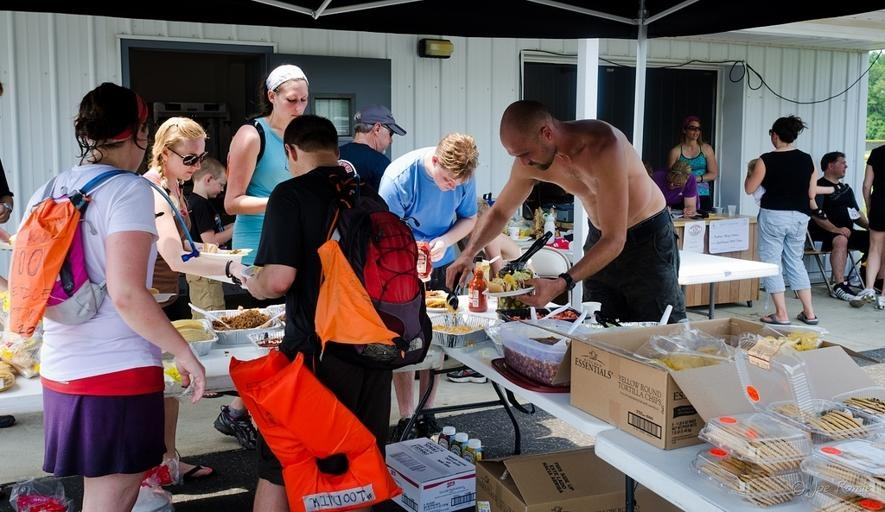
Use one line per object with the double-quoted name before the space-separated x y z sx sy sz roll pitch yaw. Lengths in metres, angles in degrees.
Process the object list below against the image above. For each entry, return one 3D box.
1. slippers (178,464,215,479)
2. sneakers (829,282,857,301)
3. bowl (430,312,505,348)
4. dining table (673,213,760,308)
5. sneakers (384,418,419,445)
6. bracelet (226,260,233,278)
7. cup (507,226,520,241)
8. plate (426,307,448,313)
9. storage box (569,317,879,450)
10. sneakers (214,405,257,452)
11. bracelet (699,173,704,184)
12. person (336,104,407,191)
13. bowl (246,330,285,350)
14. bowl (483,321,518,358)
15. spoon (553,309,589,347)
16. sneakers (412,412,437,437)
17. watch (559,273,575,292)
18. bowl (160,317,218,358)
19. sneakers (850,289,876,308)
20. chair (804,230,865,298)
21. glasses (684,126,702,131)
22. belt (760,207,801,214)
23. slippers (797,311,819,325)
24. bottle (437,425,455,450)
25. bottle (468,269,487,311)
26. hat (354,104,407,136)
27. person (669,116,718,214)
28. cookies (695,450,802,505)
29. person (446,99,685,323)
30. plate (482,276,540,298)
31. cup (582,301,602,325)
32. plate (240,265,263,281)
"slippers" -1.704 1.493 4.683 0.254 0.062 0.092 2 20 -18
"sneakers" 5.534 0.489 9.241 0.176 0.189 0.439 -10 8 -6
"bowl" 0.121 0.429 3.988 0.255 0.057 0.235 -1 11 0
"dining table" 3.010 0.012 7.409 1.163 1.016 0.708 -4 7 -16
"sneakers" -0.300 1.269 4.791 0.159 0.191 0.466 1 -5 12
"bracelet" -1.220 0.077 3.839 0.019 0.077 0.078 8 -16 -11
"cup" 0.827 -0.261 7.633 0.136 0.136 0.134 0 4 0
"plate" -0.032 0.351 4.311 0.088 0.013 0.086 1 7 9
"storage box" 1.304 0.578 3.269 1.074 0.327 1.041 -6 7 -10
"sneakers" -1.520 1.290 5.114 0.475 0.216 0.158 21 16 31
"bracelet" 3.462 -1.011 8.925 0.029 0.085 0.065 10 2 20
"person" -0.594 -0.865 5.445 0.482 0.701 0.712 -6 20 -34
"bowl" -1.058 0.499 4.018 0.212 0.041 0.143 -6 31 -22
"bowl" 0.315 0.454 3.729 0.171 0.073 0.188 -2 9 -24
"spoon" 0.715 0.366 3.553 0.049 0.333 0.078 3 38 -36
"sneakers" -0.110 1.263 4.961 0.201 0.240 0.271 2 -22 -8
"watch" 0.714 0.148 3.831 0.064 0.089 0.096 -22 25 -9
"bowl" -1.447 0.467 3.921 0.246 0.094 0.373 -3 10 -29
"sneakers" 5.576 0.545 8.871 0.277 0.216 0.364 4 13 31
"chair" 5.350 -0.081 9.200 0.581 0.893 0.672 -10 6 -1
"glasses" 3.305 -1.684 8.826 0.177 0.069 0.101 -4 12 -5
"belt" 4.113 -0.550 8.117 0.435 0.083 0.118 3 13 23
"slippers" 4.411 0.764 8.108 0.115 0.107 0.303 -4 14 -3
"bottle" 0.041 1.246 4.583 0.134 0.209 0.125 4 0 0
"bottle" 0.230 0.228 4.334 0.113 0.256 0.128 -3 11 2
"hat" -0.469 -1.078 5.377 0.408 0.198 0.249 2 9 -21
"person" 3.383 -0.972 9.078 0.635 1.677 0.695 1 26 16
"cookies" 1.296 0.936 2.822 0.425 0.186 0.125 1 12 18
"person" 0.826 -0.247 4.335 1.348 1.478 1.061 -12 15 -39
"plate" 0.414 0.193 4.177 0.295 0.125 0.378 0 12 11
"cup" 0.893 0.333 3.991 0.130 0.132 0.131 -2 6 0
"plate" -1.087 0.088 3.804 0.107 0.050 0.140 -11 9 -29
